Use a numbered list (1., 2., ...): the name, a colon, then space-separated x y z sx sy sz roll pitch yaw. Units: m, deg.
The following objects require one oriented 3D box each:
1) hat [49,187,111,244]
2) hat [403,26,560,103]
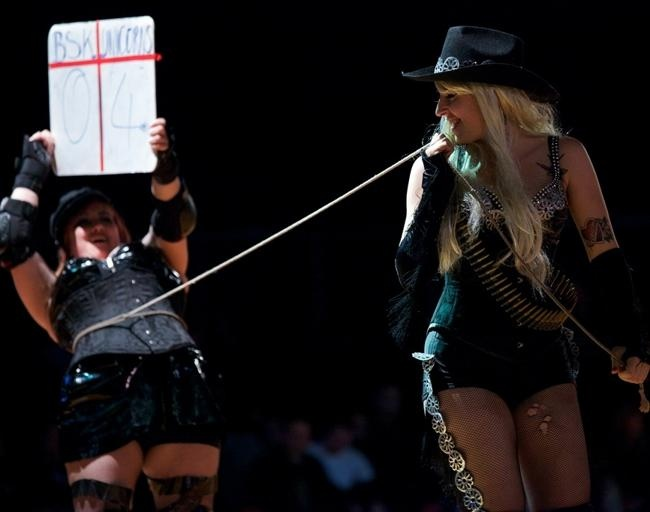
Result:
1. hat: -1.014 -0.192 3.798 0.197 0.242 0.112 -8 34 -35
2. hat: 0.581 -0.720 3.379 0.581 0.209 0.460 3 16 -25
